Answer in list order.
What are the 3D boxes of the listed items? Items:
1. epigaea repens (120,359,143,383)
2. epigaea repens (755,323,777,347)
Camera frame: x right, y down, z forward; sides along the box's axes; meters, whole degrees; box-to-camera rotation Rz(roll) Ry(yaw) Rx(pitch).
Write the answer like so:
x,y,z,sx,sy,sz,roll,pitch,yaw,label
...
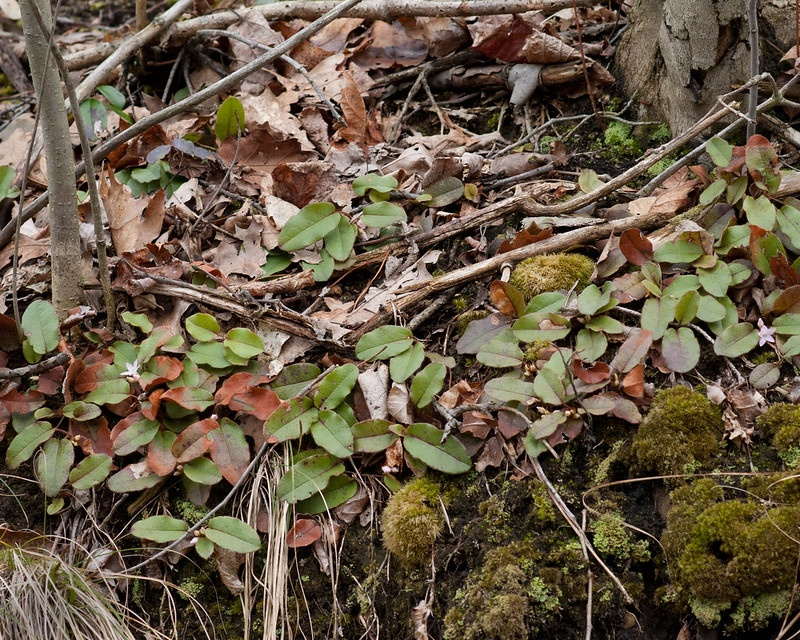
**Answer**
x,y,z,sx,sy,sz,roll,pitch,yaw,label
-1.258,0.241,4.105,0.103,0.098,0.054,-8,14,22,epigaea repens
1.570,0.060,3.797,0.062,0.104,0.036,-16,-8,9,epigaea repens
